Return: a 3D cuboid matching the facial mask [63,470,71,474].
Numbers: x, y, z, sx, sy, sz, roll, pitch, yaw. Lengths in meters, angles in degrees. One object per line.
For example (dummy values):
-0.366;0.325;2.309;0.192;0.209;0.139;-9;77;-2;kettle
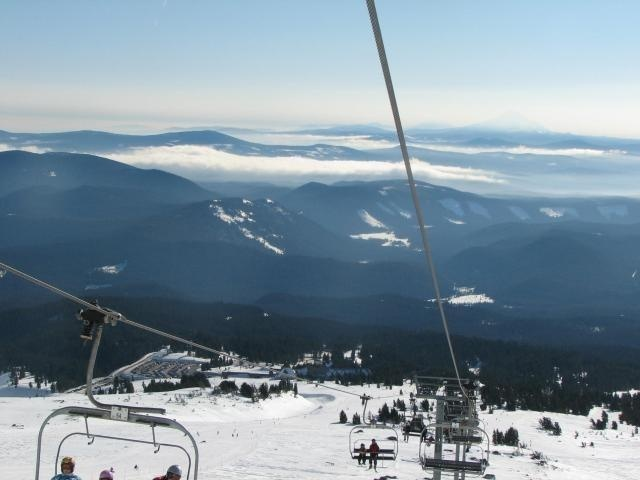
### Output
-23.809;21.929;71.829;0.408;0.171;0.453;1;-4;1;facial mask
